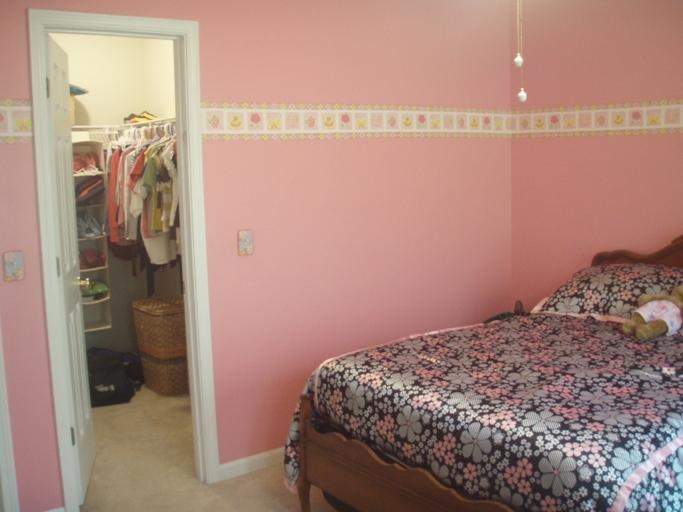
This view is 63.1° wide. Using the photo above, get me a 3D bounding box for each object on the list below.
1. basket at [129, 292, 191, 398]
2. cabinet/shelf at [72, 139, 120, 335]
[{"bbox_3d":[-1.447,0.746,4.589,0.326,0.722,0.527,-16,18,-43],"label":"basket"},{"bbox_3d":[-2.089,-0.144,4.670,0.295,1.607,0.490,-6,13,-8],"label":"cabinet/shelf"}]
